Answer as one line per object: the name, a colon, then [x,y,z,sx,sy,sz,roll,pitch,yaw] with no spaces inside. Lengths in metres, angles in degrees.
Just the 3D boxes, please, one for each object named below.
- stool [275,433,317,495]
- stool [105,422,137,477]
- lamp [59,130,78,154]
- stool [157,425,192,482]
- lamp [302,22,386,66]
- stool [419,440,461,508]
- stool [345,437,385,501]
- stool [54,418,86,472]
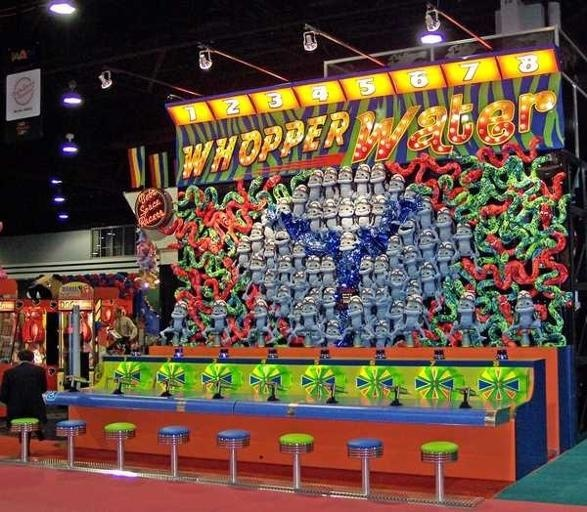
stool: [0.035,1.723,7.048,0.293,0.418,0.279,3,-7,-31]
stool: [-1.679,1.825,8.148,0.264,0.467,1.210,0,-7,-12]
lamp: [-4.417,-2.230,16.538,0.343,0.469,0.195,-5,2,12]
stool: [-1.042,1.773,7.524,0.376,0.429,0.359,-3,-8,5]
lamp: [0.706,-2.841,10.883,1.453,0.350,0.126,-14,25,-32]
stool: [1.166,1.704,6.647,0.300,0.441,0.298,-5,-6,28]
stool: [0.592,1.706,6.785,0.287,0.431,0.282,3,-8,-30]
stool: [-2.114,1.785,8.007,0.280,0.438,0.265,0,-2,-6]
